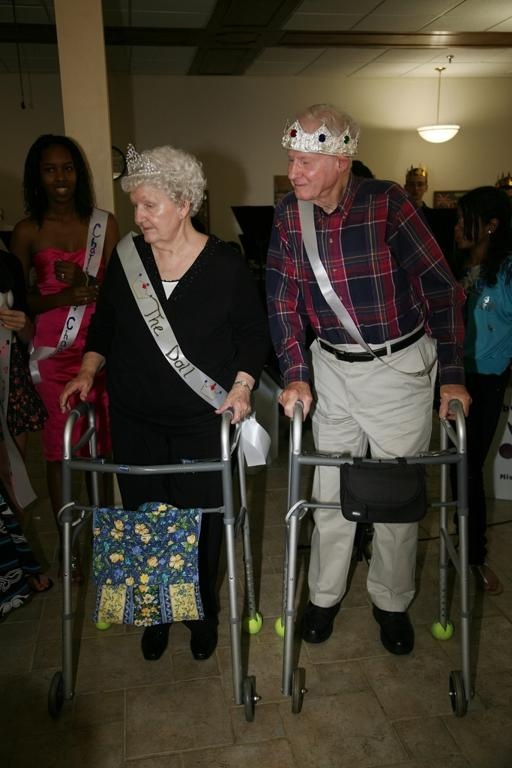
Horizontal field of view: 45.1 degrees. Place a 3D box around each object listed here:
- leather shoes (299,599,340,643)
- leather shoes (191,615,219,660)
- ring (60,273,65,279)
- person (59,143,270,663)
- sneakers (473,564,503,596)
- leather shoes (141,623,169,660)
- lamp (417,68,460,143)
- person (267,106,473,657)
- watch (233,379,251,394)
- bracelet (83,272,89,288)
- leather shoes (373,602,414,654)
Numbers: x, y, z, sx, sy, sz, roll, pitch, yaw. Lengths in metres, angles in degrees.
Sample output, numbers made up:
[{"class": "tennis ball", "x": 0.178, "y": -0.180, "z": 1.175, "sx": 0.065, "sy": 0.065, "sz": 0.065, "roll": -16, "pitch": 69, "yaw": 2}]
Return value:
[{"class": "leather shoes", "x": 0.213, "y": 0.845, "z": 2.163, "sx": 0.076, "sy": 0.072, "sz": 0.186, "roll": 3, "pitch": 26, "yaw": 14}, {"class": "leather shoes", "x": -0.178, "y": 0.857, "z": 2.075, "sx": 0.068, "sy": 0.179, "sz": 0.130, "roll": -2, "pitch": 29, "yaw": 6}, {"class": "ring", "x": -0.722, "y": -0.405, "z": 2.313, "sx": 0.014, "sy": 0.024, "sz": 0.013, "roll": 2, "pitch": 20, "yaw": -1}, {"class": "person", "x": -0.273, "y": 0.126, "z": 1.913, "sx": 0.611, "sy": 1.639, "sz": 0.368, "roll": 3, "pitch": 12, "yaw": 19}, {"class": "sneakers", "x": 0.919, "y": 0.777, "z": 2.471, "sx": 0.064, "sy": 0.042, "sz": 0.115, "roll": -29, "pitch": 30, "yaw": 10}, {"class": "leather shoes", "x": -0.349, "y": 0.885, "z": 2.110, "sx": 0.056, "sy": 0.057, "sz": 0.142, "roll": 6, "pitch": 18, "yaw": -6}, {"class": "lamp", "x": 2.603, "y": -4.044, "z": 8.844, "sx": 0.611, "sy": 1.045, "sz": 0.584, "roll": -6, "pitch": 17, "yaw": -12}, {"class": "person", "x": 0.322, "y": 0.057, "z": 1.930, "sx": 0.610, "sy": 1.749, "sz": 0.465, "roll": 1, "pitch": 12, "yaw": 10}, {"class": "watch", "x": -0.041, "y": 0.004, "z": 1.759, "sx": 0.049, "sy": 0.030, "sz": 0.057, "roll": -1, "pitch": 11, "yaw": 1}, {"class": "bracelet", "x": -0.662, "y": -0.405, "z": 2.413, "sx": 0.012, "sy": 0.044, "sz": 0.025, "roll": -5, "pitch": 24, "yaw": -8}, {"class": "leather shoes", "x": 0.477, "y": 0.849, "z": 2.147, "sx": 0.068, "sy": 0.072, "sz": 0.188, "roll": -3, "pitch": 7, "yaw": -5}]
